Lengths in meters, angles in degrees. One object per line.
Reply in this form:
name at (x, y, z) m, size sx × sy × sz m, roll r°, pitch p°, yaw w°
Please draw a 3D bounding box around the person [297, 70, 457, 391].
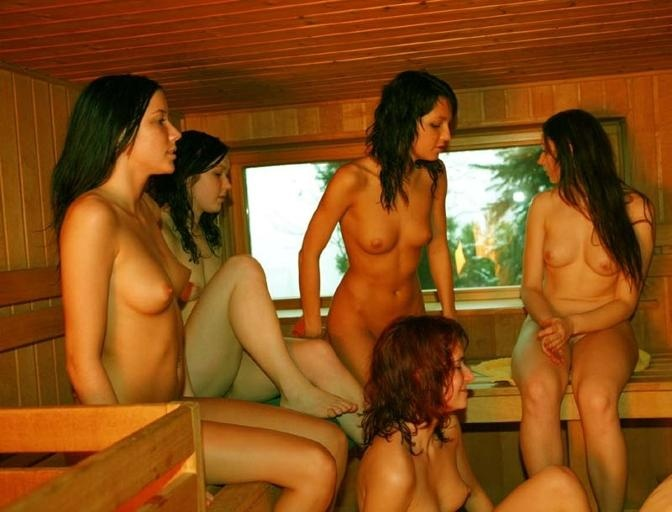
person at (0.157, 0.189, 3.112) m, size 0.692 × 2.050 × 0.495 m, roll -3°, pitch 20°, yaw -13°
